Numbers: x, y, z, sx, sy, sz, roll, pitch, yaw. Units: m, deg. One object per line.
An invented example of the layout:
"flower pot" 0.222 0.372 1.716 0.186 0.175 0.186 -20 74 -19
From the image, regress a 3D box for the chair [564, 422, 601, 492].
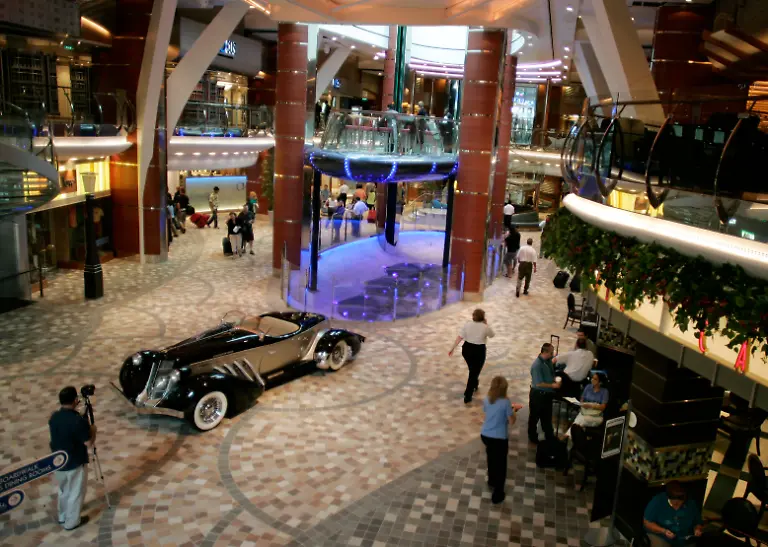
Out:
"chair" 3.195 2.862 8.688 0.511 1.060 0.921 5 14 23

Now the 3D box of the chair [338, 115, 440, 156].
"chair" 0.251 -4.514 17.425 3.601 1.265 0.880 -8 15 -31

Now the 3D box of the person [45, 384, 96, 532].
"person" -4.144 2.423 7.198 0.559 1.836 0.450 -13 18 -43

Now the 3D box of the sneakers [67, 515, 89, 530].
"sneakers" -4.079 3.284 7.215 0.095 0.110 0.277 11 19 20

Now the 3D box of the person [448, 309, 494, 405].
"person" 1.784 1.601 10.922 0.733 1.868 0.933 2 13 11

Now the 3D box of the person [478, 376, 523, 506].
"person" 1.742 2.438 8.160 0.563 1.870 0.529 -8 15 -29

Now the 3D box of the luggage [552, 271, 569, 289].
"luggage" 6.402 0.169 19.592 0.520 0.766 1.326 4 13 17

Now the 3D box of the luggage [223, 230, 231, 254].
"luggage" -6.155 -1.134 21.151 0.281 0.789 0.370 -7 15 -27

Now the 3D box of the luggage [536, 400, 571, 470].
"luggage" 2.851 2.777 9.297 0.703 1.139 0.816 2 4 8

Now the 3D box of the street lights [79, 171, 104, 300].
"street lights" -8.335 -1.049 15.296 0.542 3.463 0.913 -5 14 -19

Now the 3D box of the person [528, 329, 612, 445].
"person" 3.454 2.138 9.960 0.992 0.627 1.719 7 31 15
